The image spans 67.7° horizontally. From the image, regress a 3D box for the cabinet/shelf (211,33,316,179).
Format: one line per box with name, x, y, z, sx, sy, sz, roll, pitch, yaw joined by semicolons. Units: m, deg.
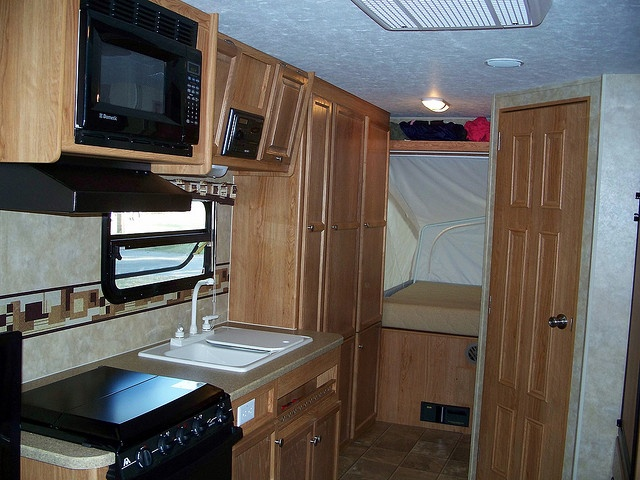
cabinet/shelf;-0.483;-0.783;2.893;0.426;0.733;1.113;13;9;20
